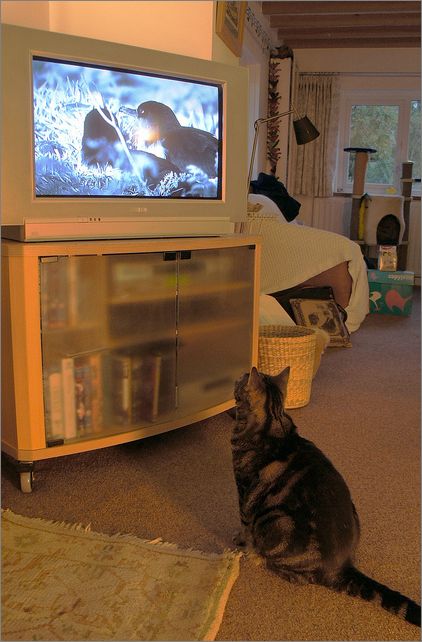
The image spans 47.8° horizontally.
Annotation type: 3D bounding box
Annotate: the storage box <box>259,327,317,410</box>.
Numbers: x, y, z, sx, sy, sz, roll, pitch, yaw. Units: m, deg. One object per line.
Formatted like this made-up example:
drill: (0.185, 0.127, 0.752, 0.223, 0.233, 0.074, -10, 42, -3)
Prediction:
storage box: (0.301, 0.171, 2.091, 0.330, 0.368, 0.334, 0, 12, -1)

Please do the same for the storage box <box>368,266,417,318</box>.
storage box: (1.448, -0.250, 3.875, 0.380, 0.348, 0.382, 3, 10, 15)

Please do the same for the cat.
cat: (0.194, 0.277, 1.016, 0.179, 0.315, 0.610, -11, 50, -28)

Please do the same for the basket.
basket: (0.247, 0.152, 2.072, 0.331, 0.368, 0.335, -1, 12, -2)
